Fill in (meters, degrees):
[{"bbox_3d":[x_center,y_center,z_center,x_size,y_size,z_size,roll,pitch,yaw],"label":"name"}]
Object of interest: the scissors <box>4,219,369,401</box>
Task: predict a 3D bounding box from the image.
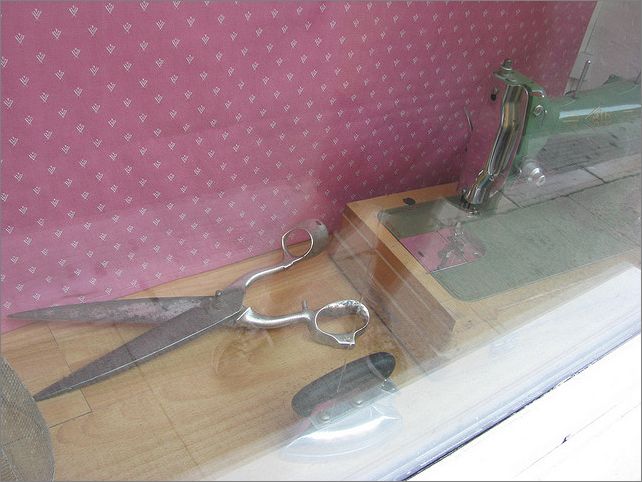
[{"bbox_3d":[-0.155,0.076,0.624,0.404,0.169,0.055,-8,-32,-28],"label":"scissors"}]
